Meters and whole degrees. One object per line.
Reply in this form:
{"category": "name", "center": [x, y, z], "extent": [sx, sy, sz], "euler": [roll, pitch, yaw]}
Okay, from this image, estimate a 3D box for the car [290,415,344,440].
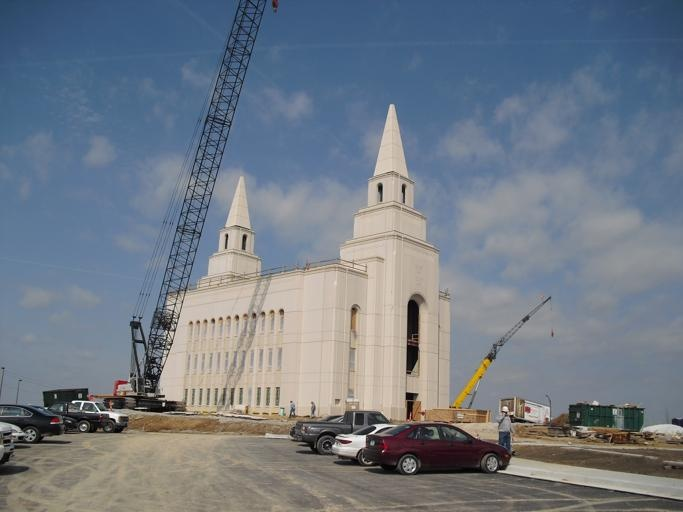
{"category": "car", "center": [-0.996, 8.722, 29.083], "extent": [3.097, 1.047, 1.376], "euler": [-1, -5, -17]}
